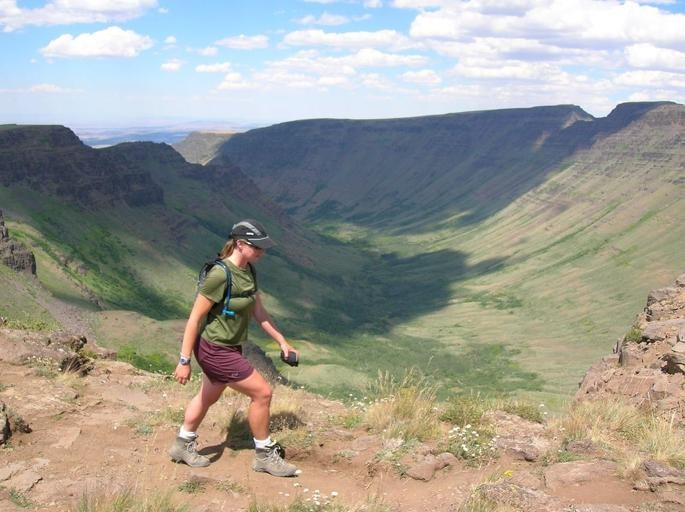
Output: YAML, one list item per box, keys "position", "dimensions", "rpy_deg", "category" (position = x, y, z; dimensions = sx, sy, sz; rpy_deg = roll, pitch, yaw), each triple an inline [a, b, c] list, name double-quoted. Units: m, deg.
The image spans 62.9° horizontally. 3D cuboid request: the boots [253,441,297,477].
- position: [-1.206, 3.614, 9.954]
  dimensions: [1.180, 0.520, 0.384]
  rpy_deg: [2, -2, 6]
  category: "boots"
